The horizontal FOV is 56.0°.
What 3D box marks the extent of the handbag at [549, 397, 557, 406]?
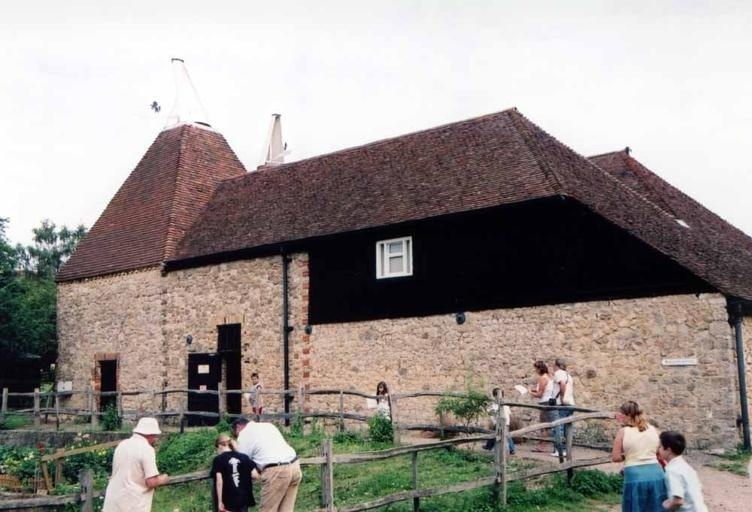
[{"bbox_3d":[3.989,3.272,15.946,0.184,0.158,0.123,-4,2,-27],"label":"handbag"}]
